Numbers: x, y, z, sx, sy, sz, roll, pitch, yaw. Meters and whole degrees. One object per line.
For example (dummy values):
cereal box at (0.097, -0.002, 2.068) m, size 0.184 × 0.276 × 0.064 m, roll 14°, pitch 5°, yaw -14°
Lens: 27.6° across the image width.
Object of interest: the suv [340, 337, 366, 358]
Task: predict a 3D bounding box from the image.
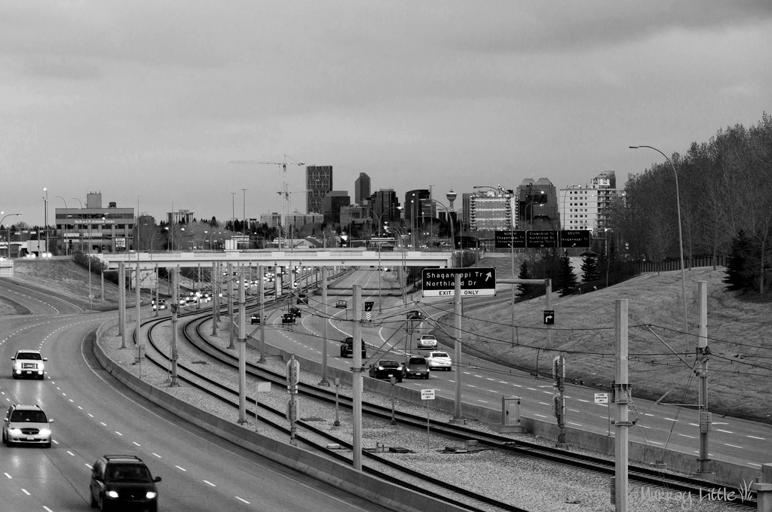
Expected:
suv at (-3.762, 10.263, 177.322) m, size 1.972 × 1.691 × 3.260 m, roll 1°, pitch 4°, yaw -6°

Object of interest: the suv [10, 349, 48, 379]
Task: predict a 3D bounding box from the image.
suv at (-34.673, 10.713, 154.814) m, size 3.003 × 2.618 × 3.950 m, roll -2°, pitch 2°, yaw -12°
